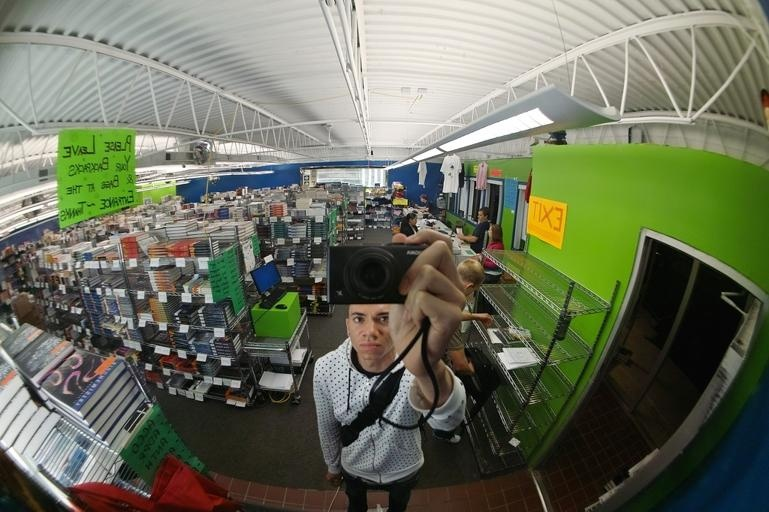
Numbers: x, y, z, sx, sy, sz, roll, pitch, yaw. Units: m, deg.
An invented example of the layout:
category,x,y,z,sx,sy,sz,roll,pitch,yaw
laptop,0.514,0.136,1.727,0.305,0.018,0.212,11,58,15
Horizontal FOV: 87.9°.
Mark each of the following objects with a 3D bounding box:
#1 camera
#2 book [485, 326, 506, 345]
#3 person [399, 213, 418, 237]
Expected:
category,x,y,z,sx,sy,sz,roll,pitch,yaw
camera,-0.061,0.100,2.972,0.701,0.453,0.404,0,13,-3
book,1.182,0.872,4.263,0.174,0.046,0.194,3,21,0
person,0.497,-0.626,8.202,0.284,0.352,0.798,-20,-14,3
